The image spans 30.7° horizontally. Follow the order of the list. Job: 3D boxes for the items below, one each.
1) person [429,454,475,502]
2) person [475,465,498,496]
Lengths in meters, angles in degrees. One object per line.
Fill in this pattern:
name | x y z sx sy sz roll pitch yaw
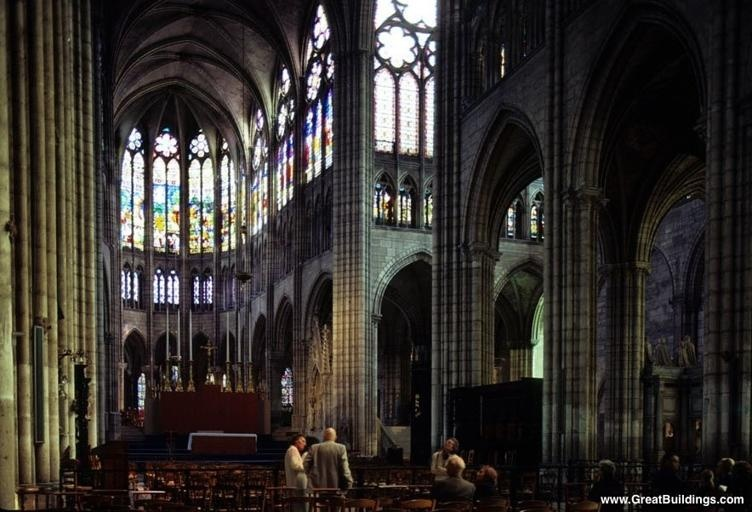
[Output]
person | 1.904 5.323 32.865 1.061 1.023 0.595 5 -7 -21
person | 2.655 5.425 33.184 0.511 0.769 0.578 -1 -12 5
